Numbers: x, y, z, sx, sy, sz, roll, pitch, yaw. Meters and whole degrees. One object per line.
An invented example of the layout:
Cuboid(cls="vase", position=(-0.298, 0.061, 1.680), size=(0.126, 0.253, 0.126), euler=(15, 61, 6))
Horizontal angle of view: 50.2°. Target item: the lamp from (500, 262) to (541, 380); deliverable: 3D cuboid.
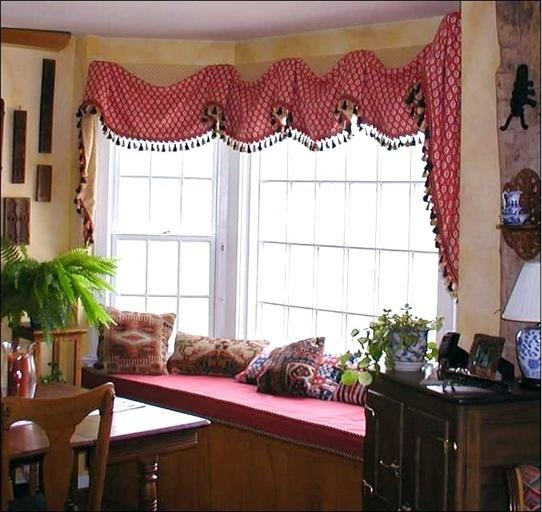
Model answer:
Cuboid(cls="lamp", position=(0.791, 0.199, 1.834), size=(0.111, 0.362, 0.160), euler=(0, -3, 26))

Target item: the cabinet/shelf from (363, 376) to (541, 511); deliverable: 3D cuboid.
Cuboid(cls="cabinet/shelf", position=(0.523, 0.651, 1.847), size=(0.247, 0.495, 0.633), euler=(4, -3, -39))

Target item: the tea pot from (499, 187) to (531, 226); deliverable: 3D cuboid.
Cuboid(cls="tea pot", position=(0.778, -0.158, 1.861), size=(0.079, 0.128, 0.117), euler=(1, -3, -6))
